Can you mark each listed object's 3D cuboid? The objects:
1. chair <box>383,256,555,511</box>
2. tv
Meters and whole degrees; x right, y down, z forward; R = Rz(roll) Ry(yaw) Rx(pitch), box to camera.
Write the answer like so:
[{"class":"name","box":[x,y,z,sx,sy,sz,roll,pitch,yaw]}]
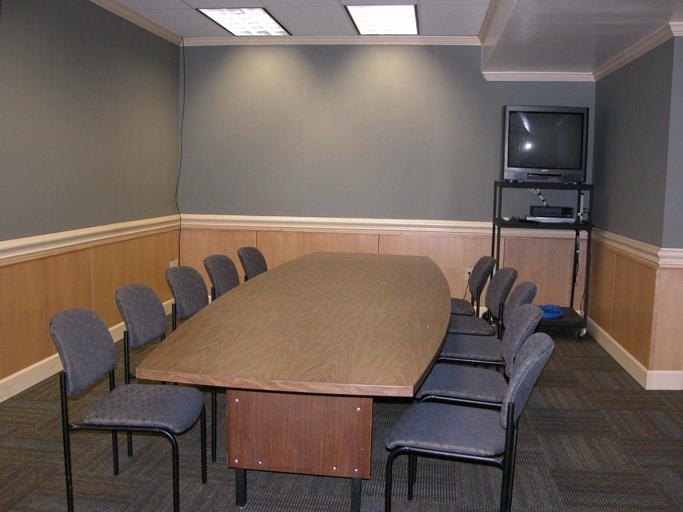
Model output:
[{"class":"chair","box":[0.680,0.835,3.337,0.985,1.695,0.894,4,10,13]},{"class":"tv","box":[2.152,-1.145,5.904,1.156,1.218,0.685,1,4,7]}]
